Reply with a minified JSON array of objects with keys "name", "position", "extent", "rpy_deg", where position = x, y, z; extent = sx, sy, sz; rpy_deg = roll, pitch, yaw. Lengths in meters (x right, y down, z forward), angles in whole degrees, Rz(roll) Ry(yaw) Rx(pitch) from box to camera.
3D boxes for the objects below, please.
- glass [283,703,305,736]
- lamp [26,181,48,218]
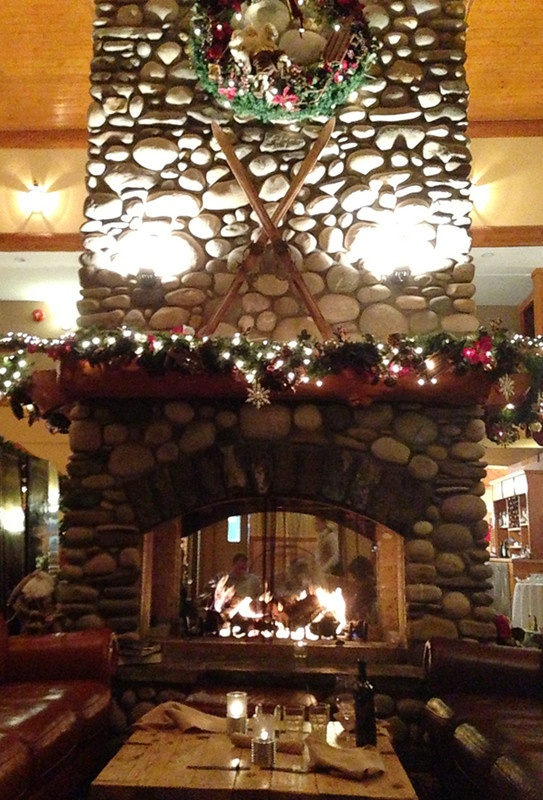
[{"name":"glass","position":[0.072,1.085,2.414],"extent":[0.071,0.071,0.073],"rpy_deg":[-10,-18,41]},{"name":"lamp","position":[-1.948,-1.666,5.989],"extent":[0.144,0.255,0.144],"rpy_deg":[-11,-14,43]}]
